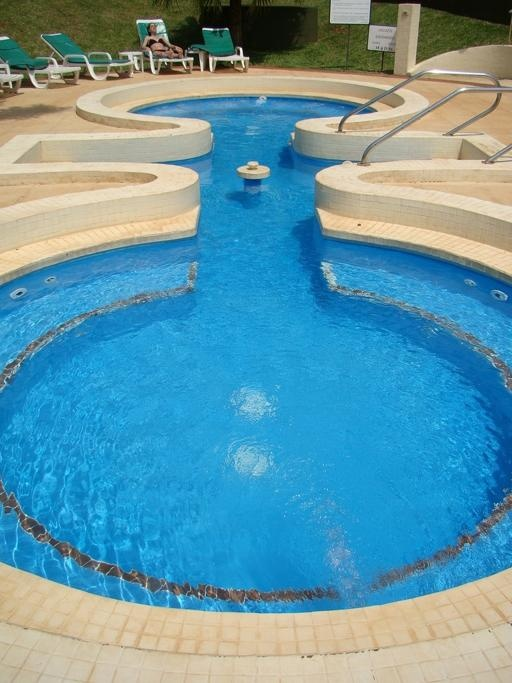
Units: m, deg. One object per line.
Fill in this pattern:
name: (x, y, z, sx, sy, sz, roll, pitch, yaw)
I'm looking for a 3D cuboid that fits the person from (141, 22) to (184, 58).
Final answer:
person: (-2.855, -9.070, 14.973, 0.827, 0.625, 1.467, -28, 70, -19)
